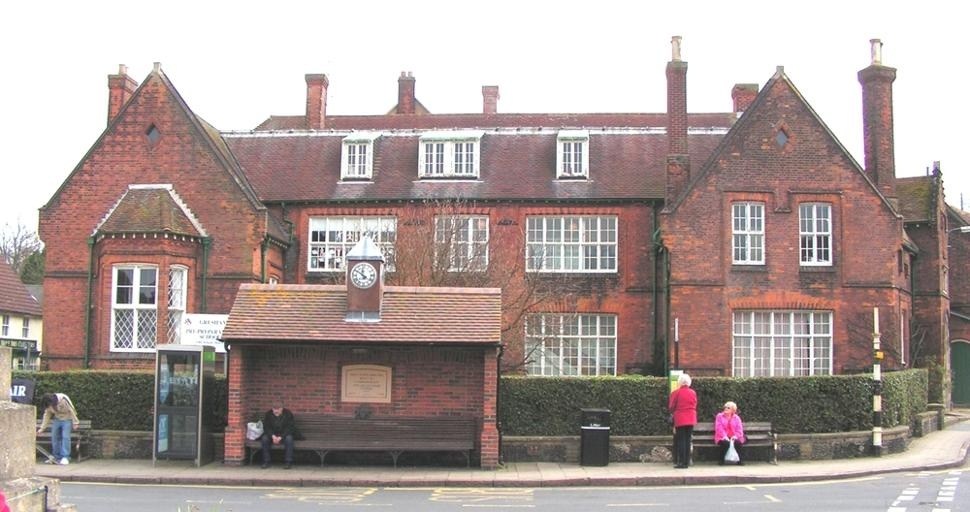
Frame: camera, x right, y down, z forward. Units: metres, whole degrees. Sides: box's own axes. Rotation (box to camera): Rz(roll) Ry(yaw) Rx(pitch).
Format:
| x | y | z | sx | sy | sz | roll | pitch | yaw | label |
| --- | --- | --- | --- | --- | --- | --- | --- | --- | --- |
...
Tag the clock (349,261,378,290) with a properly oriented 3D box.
| x | y | z | sx | sy | sz | roll | pitch | yaw | label |
| --- | --- | --- | --- | --- | --- | --- | --- | --- | --- |
| -5.376 | 0.938 | 73.655 | 1.427 | 1.141 | 0.140 | -3 | -9 | -5 | clock |
